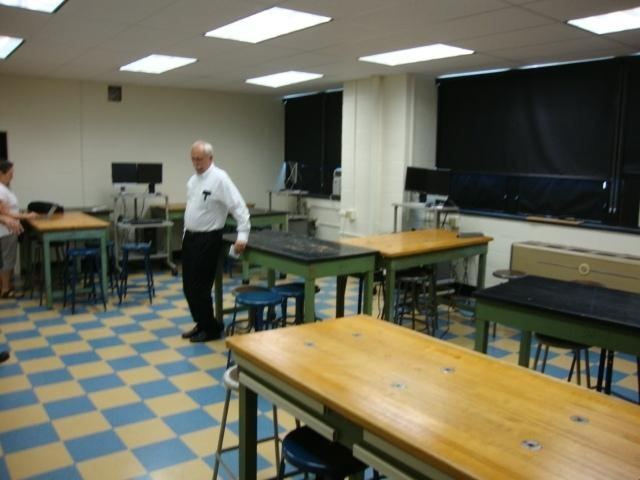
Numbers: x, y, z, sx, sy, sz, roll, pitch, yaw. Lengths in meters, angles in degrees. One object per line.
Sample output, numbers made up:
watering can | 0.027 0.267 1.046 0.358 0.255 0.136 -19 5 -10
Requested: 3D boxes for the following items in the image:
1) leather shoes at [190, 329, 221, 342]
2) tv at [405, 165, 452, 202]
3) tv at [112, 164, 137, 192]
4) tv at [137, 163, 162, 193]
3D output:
leather shoes | -1.327 1.103 5.601 0.359 0.149 0.132 3 1 -18
tv | 1.540 -0.830 6.990 0.275 0.357 0.866 -4 14 -19
tv | -3.465 -1.080 8.474 0.453 0.534 0.152 -4 15 -23
tv | -3.087 -1.104 8.665 0.470 0.593 0.187 -4 20 -21
